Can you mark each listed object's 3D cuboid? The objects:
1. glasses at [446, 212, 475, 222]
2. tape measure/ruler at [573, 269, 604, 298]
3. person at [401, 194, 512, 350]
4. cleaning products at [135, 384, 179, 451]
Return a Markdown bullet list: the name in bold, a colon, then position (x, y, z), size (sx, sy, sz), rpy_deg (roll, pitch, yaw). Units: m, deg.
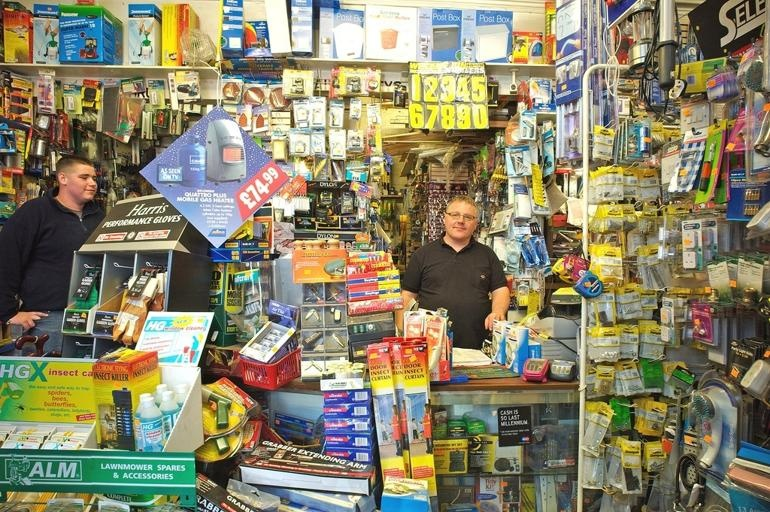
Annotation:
- **glasses**: position (0.641, -0.340, 5.639), size (0.237, 0.074, 0.118), rpy_deg (1, 4, 4)
- **tape measure/ruler**: position (1.295, 0.184, 4.219), size (0.173, 0.173, 0.061), rpy_deg (34, -8, -19)
- **person**: position (0.593, 0.129, 5.649), size (0.903, 1.270, 0.457), rpy_deg (1, 3, 6)
- **cleaning products**: position (-1.241, 0.875, 3.606), size (0.232, 0.334, 0.150), rpy_deg (0, 4, -18)
